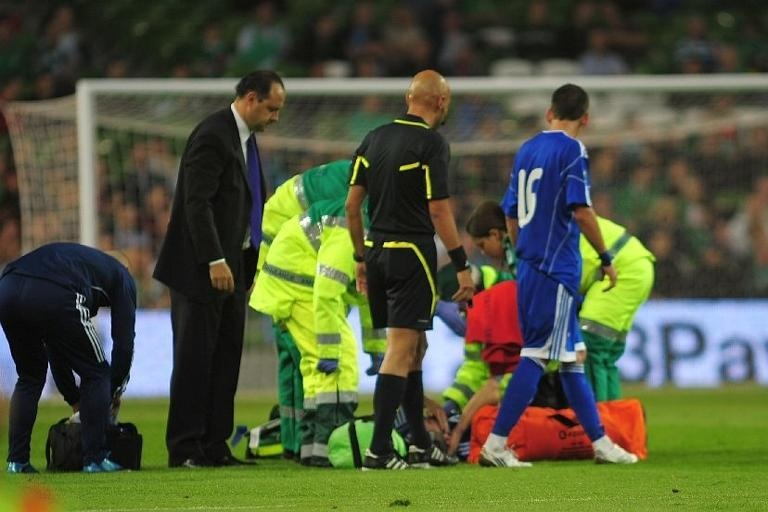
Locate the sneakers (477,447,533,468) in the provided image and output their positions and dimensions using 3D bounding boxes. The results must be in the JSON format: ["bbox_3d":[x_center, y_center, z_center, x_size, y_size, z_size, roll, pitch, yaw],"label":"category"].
[{"bbox_3d":[1.345,2.328,16.315,0.664,0.311,0.235,2,1,-7],"label":"sneakers"}]

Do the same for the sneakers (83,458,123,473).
[{"bbox_3d":[-3.252,2.387,16.350,0.467,0.205,0.163,-1,-3,-16],"label":"sneakers"}]

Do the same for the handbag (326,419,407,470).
[{"bbox_3d":[-0.218,2.157,16.598,0.785,0.570,0.503,0,9,-1],"label":"handbag"}]

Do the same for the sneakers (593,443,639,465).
[{"bbox_3d":[2.682,2.319,16.547,0.532,0.249,0.198,1,-2,-11],"label":"sneakers"}]

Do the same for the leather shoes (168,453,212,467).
[{"bbox_3d":[-2.264,2.370,16.453,0.481,0.158,0.112,1,-9,-5],"label":"leather shoes"}]

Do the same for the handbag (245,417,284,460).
[{"bbox_3d":[-1.461,2.222,17.174,0.404,0.209,0.460,-25,-9,41],"label":"handbag"}]

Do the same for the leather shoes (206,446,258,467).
[{"bbox_3d":[-1.772,2.360,16.705,0.637,0.296,0.220,2,-4,-14],"label":"leather shoes"}]

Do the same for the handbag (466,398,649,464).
[{"bbox_3d":[2.174,2.182,16.902,1.515,0.603,0.930,0,-9,-4],"label":"handbag"}]

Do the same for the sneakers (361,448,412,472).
[{"bbox_3d":[0.021,2.339,16.267,0.549,0.252,0.205,1,-2,-8],"label":"sneakers"}]

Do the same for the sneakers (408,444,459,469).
[{"bbox_3d":[0.572,2.330,16.455,0.593,0.257,0.209,0,-1,-18],"label":"sneakers"}]

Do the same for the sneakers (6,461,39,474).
[{"bbox_3d":[-4.173,2.431,16.300,0.337,0.130,0.205,3,-10,-15],"label":"sneakers"}]

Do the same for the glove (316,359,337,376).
[{"bbox_3d":[-0.666,1.298,16.578,0.272,0.161,0.198,3,-10,-14],"label":"glove"}]

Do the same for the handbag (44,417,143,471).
[{"bbox_3d":[-3.411,2.207,16.675,0.796,0.595,0.616,0,-4,-3],"label":"handbag"}]
